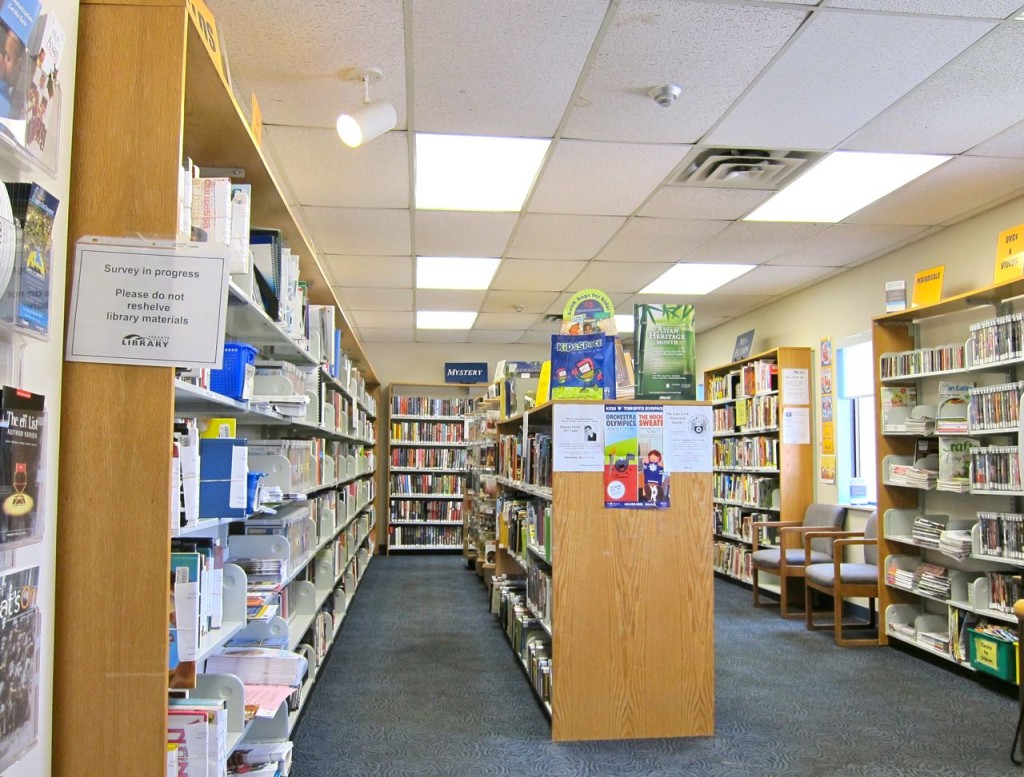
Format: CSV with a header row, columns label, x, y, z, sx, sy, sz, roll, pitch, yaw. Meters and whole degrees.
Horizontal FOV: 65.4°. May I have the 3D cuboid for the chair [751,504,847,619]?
label,x,y,z,sx,sy,sz,roll,pitch,yaw
chair,2.563,1.527,7.139,0.688,0.954,0.799,3,-6,-10

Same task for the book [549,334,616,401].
label,x,y,z,sx,sy,sz,roll,pitch,yaw
book,0.351,-0.116,4.243,0.346,0.332,0.113,-4,11,-10
